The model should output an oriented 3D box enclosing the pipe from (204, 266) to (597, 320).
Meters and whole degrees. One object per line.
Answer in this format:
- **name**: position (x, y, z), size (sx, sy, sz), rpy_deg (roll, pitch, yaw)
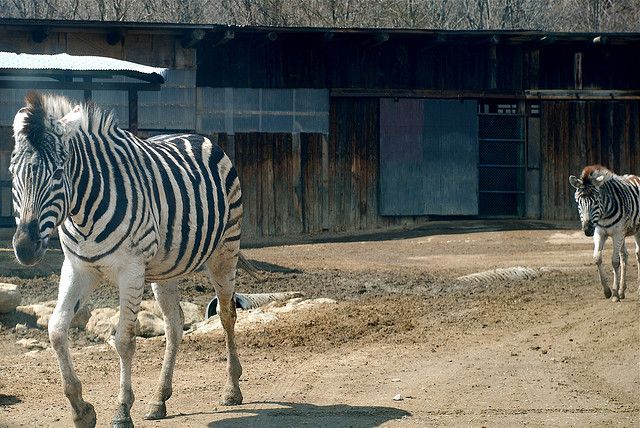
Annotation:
- **pipe**: position (1.997, 1.899, 37.876), size (7.198, 0.906, 0.906), rpy_deg (1, -32, -16)
